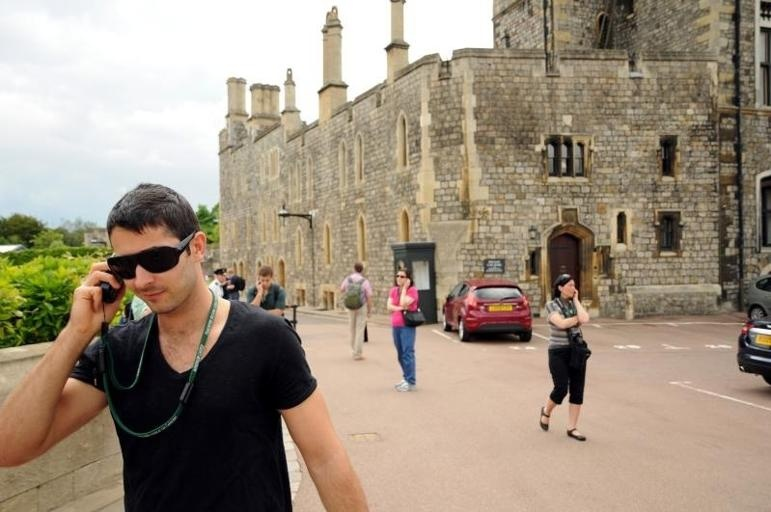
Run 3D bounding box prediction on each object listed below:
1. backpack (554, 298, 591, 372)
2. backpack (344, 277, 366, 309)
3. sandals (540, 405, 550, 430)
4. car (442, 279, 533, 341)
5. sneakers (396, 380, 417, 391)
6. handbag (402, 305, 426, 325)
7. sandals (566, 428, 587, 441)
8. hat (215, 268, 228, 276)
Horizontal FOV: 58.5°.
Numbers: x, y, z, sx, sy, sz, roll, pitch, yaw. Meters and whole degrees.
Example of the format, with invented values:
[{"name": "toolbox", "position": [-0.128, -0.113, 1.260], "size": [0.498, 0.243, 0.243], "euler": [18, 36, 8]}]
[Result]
[{"name": "backpack", "position": [2.680, 1.335, 9.882], "size": [0.396, 0.926, 0.477], "euler": [-2, -4, -10]}, {"name": "backpack", "position": [-0.658, 0.795, 14.810], "size": [0.519, 0.805, 0.416], "euler": [2, -11, 5]}, {"name": "sandals", "position": [2.359, 2.405, 10.107], "size": [0.118, 0.393, 0.100], "euler": [0, 4, 2]}, {"name": "car", "position": [2.542, 1.328, 17.908], "size": [1.190, 1.047, 2.377], "euler": [0, 4, -6]}, {"name": "sneakers", "position": [0.349, 2.285, 12.166], "size": [0.363, 0.155, 0.285], "euler": [-1, 4, 3]}, {"name": "handbag", "position": [0.506, 1.085, 11.985], "size": [0.383, 0.424, 0.231], "euler": [-2, -6, -15]}, {"name": "sandals", "position": [2.724, 2.505, 9.755], "size": [0.117, 0.108, 0.233], "euler": [-7, 8, -31]}, {"name": "hat", "position": [-3.919, 0.377, 16.334], "size": [0.348, 0.189, 0.434], "euler": [-4, -8, -12]}]
